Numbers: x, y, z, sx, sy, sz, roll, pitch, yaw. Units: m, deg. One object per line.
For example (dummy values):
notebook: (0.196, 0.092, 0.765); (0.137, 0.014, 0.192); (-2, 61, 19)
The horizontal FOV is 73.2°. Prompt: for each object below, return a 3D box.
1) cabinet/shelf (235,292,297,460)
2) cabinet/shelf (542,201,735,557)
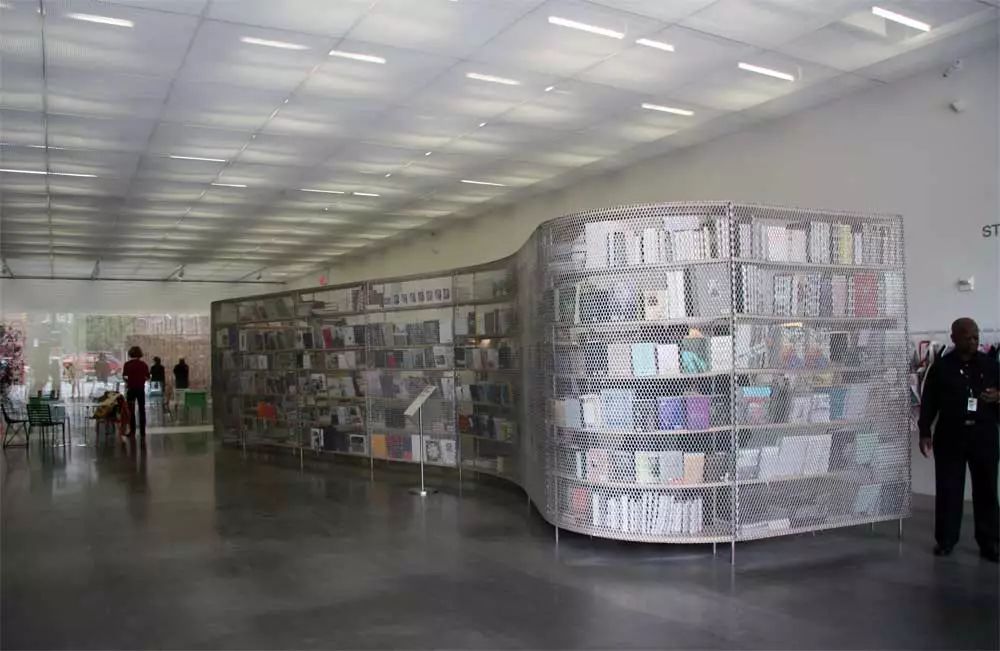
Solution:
cabinet/shelf: (-4.805, 1.070, 13.923); (1.169, 2.983, 3.198); (-1, 12, -30)
cabinet/shelf: (1.949, 0.546, 8.337); (2.461, 3.583, 2.851); (1, -6, -4)
